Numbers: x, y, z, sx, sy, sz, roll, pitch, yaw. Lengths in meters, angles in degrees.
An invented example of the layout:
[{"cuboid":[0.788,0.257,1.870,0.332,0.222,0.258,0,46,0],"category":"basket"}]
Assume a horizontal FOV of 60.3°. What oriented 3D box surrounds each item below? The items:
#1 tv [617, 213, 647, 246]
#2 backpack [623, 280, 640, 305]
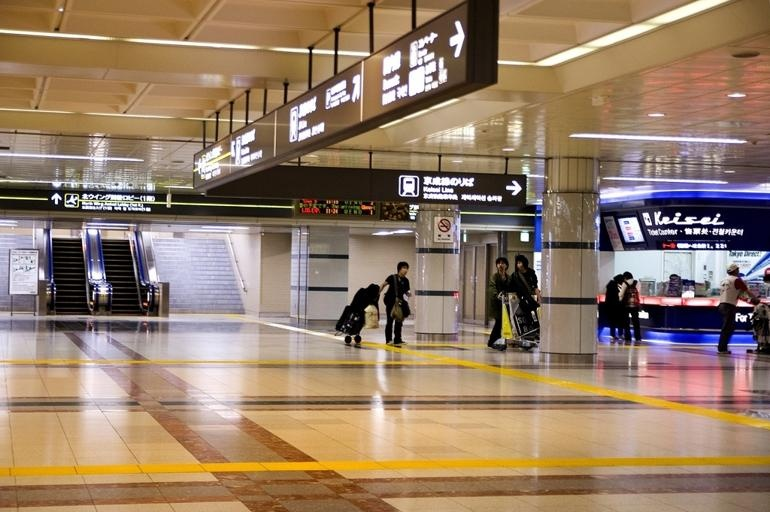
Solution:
[{"cuboid":[8.154,-0.888,22.319,0.217,0.947,1.025,-1,0,-20],"category":"tv"},{"cuboid":[7.335,1.126,20.069,0.464,0.800,0.331,-1,0,-25],"category":"backpack"}]
